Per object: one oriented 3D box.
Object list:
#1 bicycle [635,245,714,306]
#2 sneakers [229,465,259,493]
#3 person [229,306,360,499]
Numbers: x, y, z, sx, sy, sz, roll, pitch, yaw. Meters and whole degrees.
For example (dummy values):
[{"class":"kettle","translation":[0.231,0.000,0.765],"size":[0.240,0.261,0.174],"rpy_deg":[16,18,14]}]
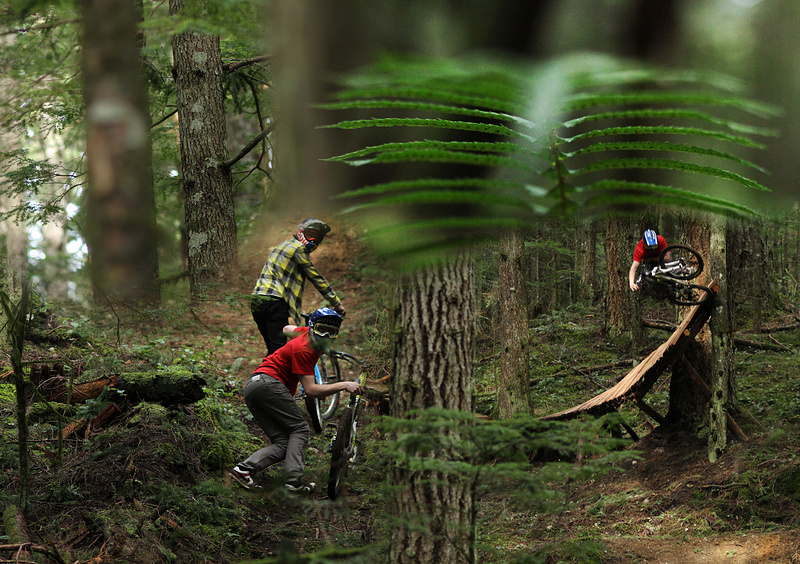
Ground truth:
[{"class":"bicycle","translation":[4.101,-0.058,14.367],"size":[0.669,0.662,1.087],"rpy_deg":[24,-22,-1]},{"class":"sneakers","translation":[-1.765,2.281,11.114],"size":[0.205,0.174,0.485],"rpy_deg":[-24,-45,10]},{"class":"person","translation":[-1.221,1.435,11.078],"size":[1.290,1.757,0.885],"rpy_deg":[-2,1,24]}]
